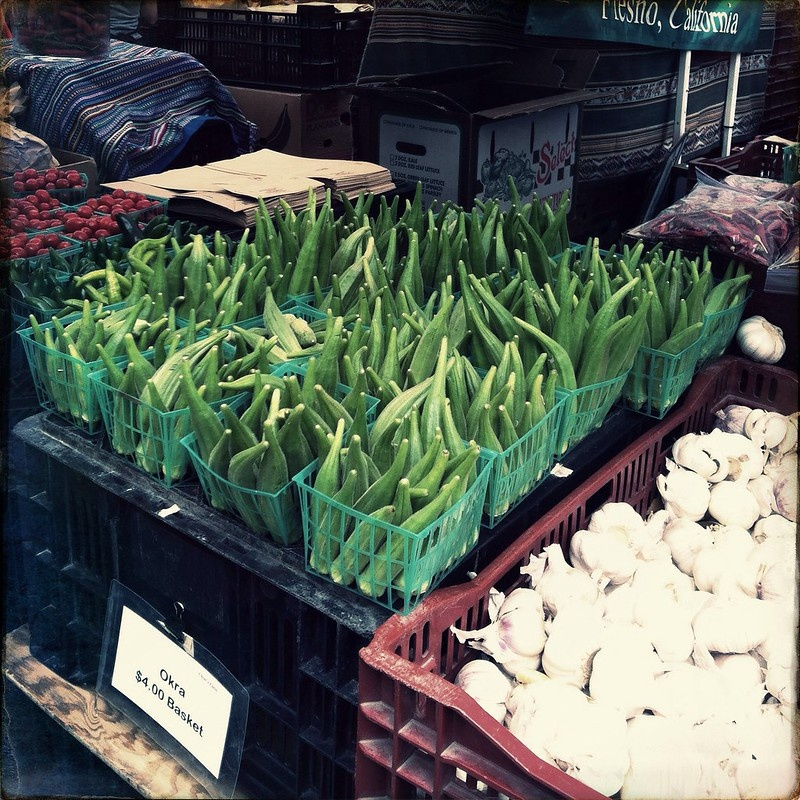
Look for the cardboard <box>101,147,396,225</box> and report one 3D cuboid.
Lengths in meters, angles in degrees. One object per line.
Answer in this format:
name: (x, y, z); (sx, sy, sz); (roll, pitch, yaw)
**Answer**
cardboard: (-0.571, -0.780, 2.656); (0.585, 0.119, 0.564); (25, 37, 37)
